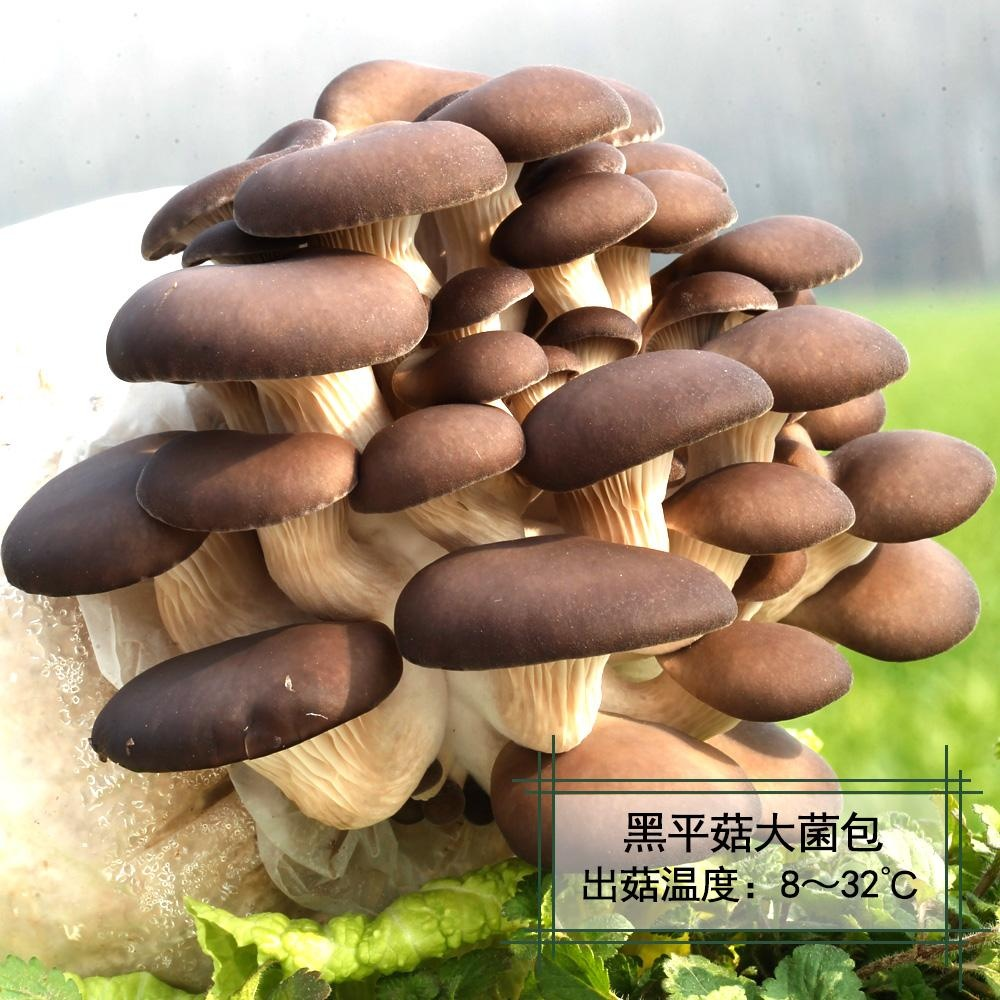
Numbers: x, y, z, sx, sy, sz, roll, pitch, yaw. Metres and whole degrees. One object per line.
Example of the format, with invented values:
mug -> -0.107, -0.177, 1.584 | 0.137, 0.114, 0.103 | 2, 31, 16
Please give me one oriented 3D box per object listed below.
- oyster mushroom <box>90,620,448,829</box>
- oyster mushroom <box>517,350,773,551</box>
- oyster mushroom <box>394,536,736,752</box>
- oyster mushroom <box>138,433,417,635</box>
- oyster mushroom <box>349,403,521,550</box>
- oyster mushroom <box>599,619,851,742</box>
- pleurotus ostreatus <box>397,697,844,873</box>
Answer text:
oyster mushroom -> -0.383, 0.295, 2.009 | 0.526, 0.201, 0.395 | -16, 27, 0
oyster mushroom -> 0.213, -0.076, 1.998 | 0.444, 0.270, 0.414 | -16, 16, -31
oyster mushroom -> 0.055, 0.227, 1.873 | 0.495, 0.233, 0.462 | -4, 9, -37
oyster mushroom -> -0.300, 0.085, 2.074 | 0.366, 0.285, 0.375 | -22, -16, 29
oyster mushroom -> -0.050, -0.038, 1.958 | 0.310, 0.232, 0.296 | 3, 11, 34
oyster mushroom -> 0.392, 0.329, 2.097 | 0.405, 0.116, 0.270 | 5, 15, 29
pleurotus ostreatus -> 0.255, 0.489, 2.033 | 0.511, 0.103, 0.394 | 3, 2, 12
